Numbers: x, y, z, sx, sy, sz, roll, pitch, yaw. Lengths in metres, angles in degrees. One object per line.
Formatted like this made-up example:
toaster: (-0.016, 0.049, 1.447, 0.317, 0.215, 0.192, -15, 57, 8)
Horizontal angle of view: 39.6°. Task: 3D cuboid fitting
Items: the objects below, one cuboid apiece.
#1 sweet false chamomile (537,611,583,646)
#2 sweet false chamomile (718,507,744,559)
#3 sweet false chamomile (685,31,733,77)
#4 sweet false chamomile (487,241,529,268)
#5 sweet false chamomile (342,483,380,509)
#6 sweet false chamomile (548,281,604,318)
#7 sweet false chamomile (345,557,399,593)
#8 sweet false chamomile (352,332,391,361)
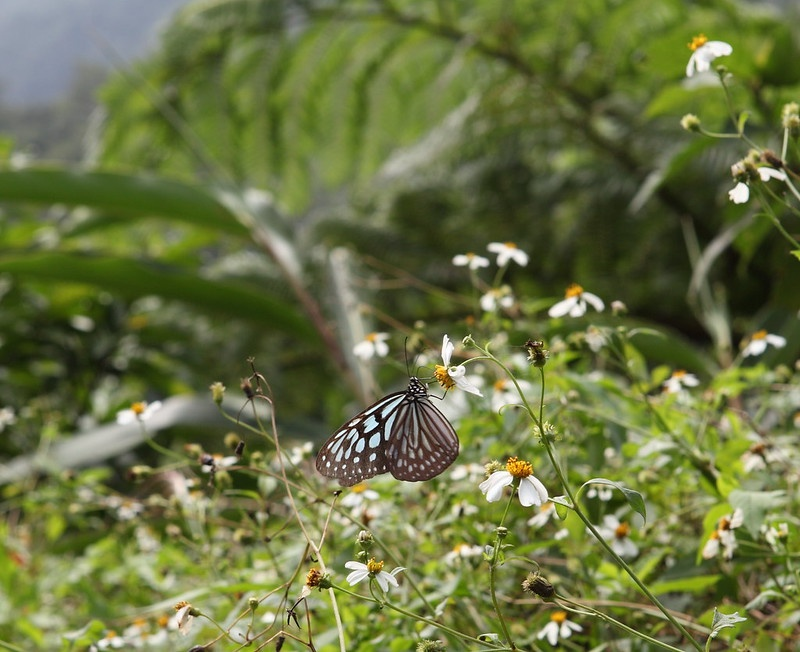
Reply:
sweet false chamomile: (0.243, 0.472, 1.725, 0.058, 0.059, 0.027, -30, 69, 13)
sweet false chamomile: (0.498, 0.313, 1.685, 0.028, 0.072, 0.068, 25, 27, 12)
sweet false chamomile: (0.440, -0.407, 1.665, 0.073, 0.047, 0.082, -5, 7, -17)
sweet false chamomile: (0.183, -0.119, 1.906, 0.071, 0.073, 0.036, 22, 87, -9)
sweet false chamomile: (-0.065, 0.287, 1.864, 0.045, 0.055, 0.019, -11, 81, -47)
sweet false chamomile: (0.286, -0.026, 1.841, 0.066, 0.071, 0.038, -16, 83, -26)
sweet false chamomile: (-0.038, 0.347, 1.555, 0.059, 0.023, 0.061, 7, 17, -22)
sweet false chamomile: (-0.043, 0.043, 2.005, 0.056, 0.023, 0.058, -24, 16, 17)
